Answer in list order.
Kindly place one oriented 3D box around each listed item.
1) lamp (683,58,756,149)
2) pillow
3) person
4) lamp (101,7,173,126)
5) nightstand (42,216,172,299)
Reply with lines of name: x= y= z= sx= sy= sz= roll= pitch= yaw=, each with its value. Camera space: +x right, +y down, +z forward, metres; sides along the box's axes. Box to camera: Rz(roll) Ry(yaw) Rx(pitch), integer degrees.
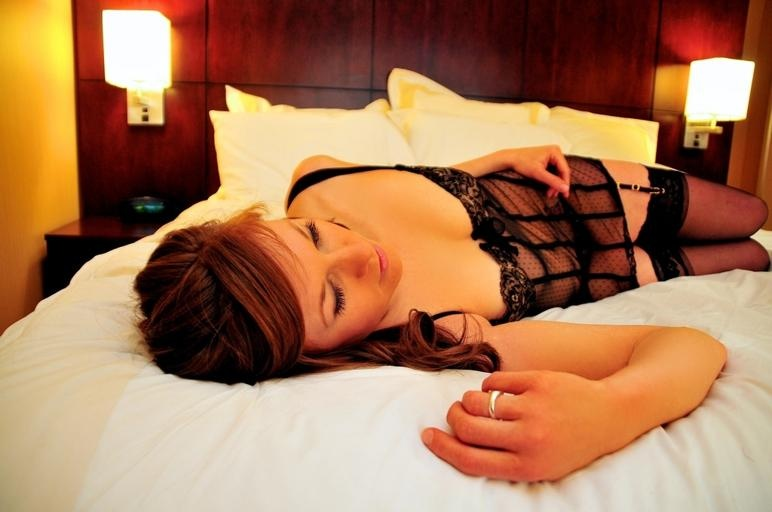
lamp: x=1.834 y=-0.834 z=3.081 sx=0.248 sy=0.491 sz=0.242 roll=-1 pitch=14 yaw=-12
pillow: x=0.182 y=-0.363 z=2.536 sx=1.593 sy=0.555 sz=0.914 roll=-5 pitch=-22 yaw=1
person: x=0.318 y=0.060 z=1.736 sx=1.025 sy=0.478 sz=1.594 roll=15 pitch=21 yaw=41
lamp: x=-1.207 y=-0.912 z=2.727 sx=0.312 sy=0.544 sz=0.213 roll=-3 pitch=14 yaw=-18
nightstand: x=-1.355 y=0.101 z=2.665 sx=0.497 sy=0.464 sz=0.377 roll=-1 pitch=19 yaw=-6
